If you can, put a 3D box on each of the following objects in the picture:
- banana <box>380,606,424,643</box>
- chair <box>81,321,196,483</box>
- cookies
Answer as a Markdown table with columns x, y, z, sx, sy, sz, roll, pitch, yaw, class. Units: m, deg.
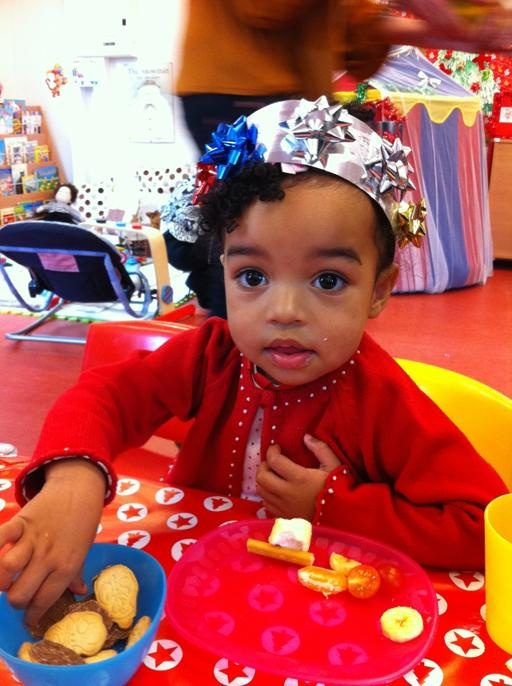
| x | y | z | sx | sy | sz | roll | pitch | yaw | class |
| --- | --- | --- | --- | --- | --- | --- | --- | --- | --- |
| 0.111 | 0.210 | 0.414 | 0.031 | 0.011 | 0.031 | 0 | 25 | 13 | banana |
| -0.161 | 0.104 | 1.080 | 0.268 | 0.294 | 0.250 | -6 | 23 | -9 | chair |
| -0.115 | 0.178 | 0.371 | 0.053 | 0.017 | 0.067 | 7 | 23 | 7 | cookies |
